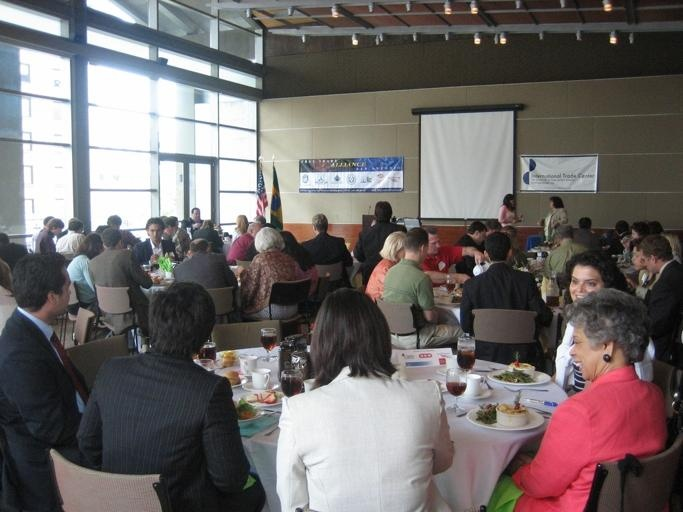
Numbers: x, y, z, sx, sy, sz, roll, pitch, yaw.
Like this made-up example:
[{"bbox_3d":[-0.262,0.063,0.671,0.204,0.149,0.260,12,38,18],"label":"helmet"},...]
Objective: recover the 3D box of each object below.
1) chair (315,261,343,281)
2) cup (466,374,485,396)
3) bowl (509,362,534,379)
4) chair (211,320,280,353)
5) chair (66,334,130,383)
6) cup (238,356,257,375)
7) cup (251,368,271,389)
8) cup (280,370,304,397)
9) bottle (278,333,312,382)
[{"bbox_3d":[-0.110,0.205,6.766,0.250,0.340,0.228,-2,11,-27],"label":"chair"},{"bbox_3d":[0.635,0.612,2.672,0.070,0.083,0.114,1,3,16],"label":"cup"},{"bbox_3d":[0.935,0.591,2.911,0.073,0.042,0.078,2,-2,0],"label":"bowl"},{"bbox_3d":[-0.624,0.501,3.642,0.213,0.138,0.322,-3,-5,37],"label":"chair"},{"bbox_3d":[-1.234,0.520,2.854,0.263,0.348,0.271,-5,-1,-27],"label":"chair"},{"bbox_3d":[-0.485,0.571,2.944,0.074,0.075,0.095,2,5,13],"label":"cup"},{"bbox_3d":[-0.380,0.591,2.714,0.091,0.071,0.075,3,2,29],"label":"cup"},{"bbox_3d":[-0.209,0.534,2.387,0.103,0.119,0.107,-1,-3,0],"label":"cup"},{"bbox_3d":[-0.206,0.472,2.604,0.191,0.199,0.142,-2,4,-37],"label":"bottle"}]
